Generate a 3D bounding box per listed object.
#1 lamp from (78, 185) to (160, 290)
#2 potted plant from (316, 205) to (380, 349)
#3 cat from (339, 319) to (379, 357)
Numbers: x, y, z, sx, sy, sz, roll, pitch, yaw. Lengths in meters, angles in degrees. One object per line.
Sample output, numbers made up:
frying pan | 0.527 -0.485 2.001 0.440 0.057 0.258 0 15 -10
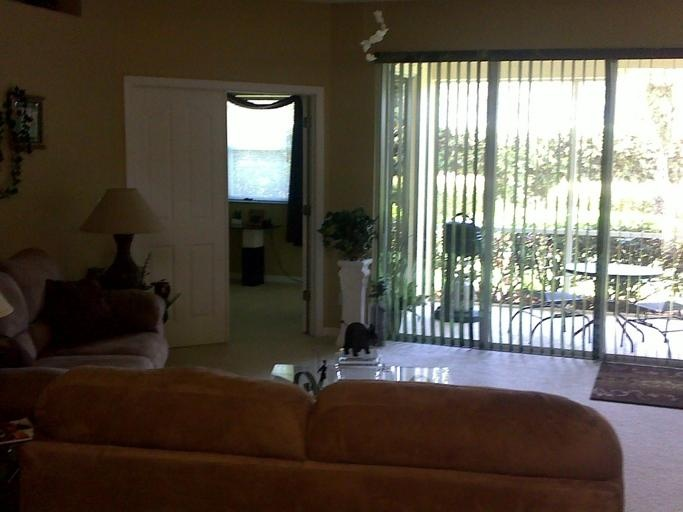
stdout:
lamp | -1.755 -0.172 5.240 0.717 1.053 0.797 -2 12 -14
potted plant | 0.043 0.183 5.853 0.545 1.339 0.615 3 -3 2
cat | 0.141 0.545 4.151 0.270 0.245 0.152 2 -3 -13
